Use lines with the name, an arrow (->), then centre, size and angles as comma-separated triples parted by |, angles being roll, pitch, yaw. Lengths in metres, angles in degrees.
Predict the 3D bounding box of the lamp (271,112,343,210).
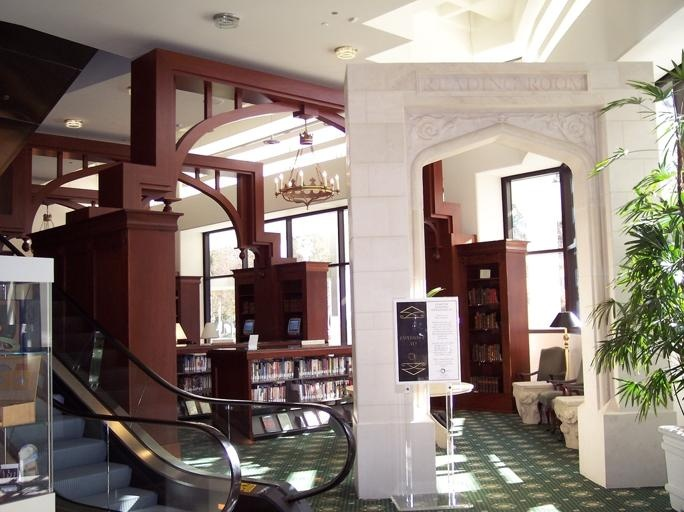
lamp -> -0.742, -1.964, 11.381 | 1.173, 1.960, 1.235 | -2, -5, 2

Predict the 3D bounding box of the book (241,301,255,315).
book -> -2.419, 1.337, 14.110 | 0.268, 0.388, 0.480 | -2, 3, -45

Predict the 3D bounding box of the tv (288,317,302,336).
tv -> -1.037, 1.555, 12.074 | 0.272, 0.363, 0.192 | -9, -37, 21

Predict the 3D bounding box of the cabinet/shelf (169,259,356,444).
cabinet/shelf -> -1.185, 1.676, 11.016 | 2.551, 3.829, 3.690 | -5, -8, 41

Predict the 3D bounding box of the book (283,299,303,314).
book -> -1.094, 1.120, 12.225 | 0.281, 0.377, 0.507 | 4, -5, -43
